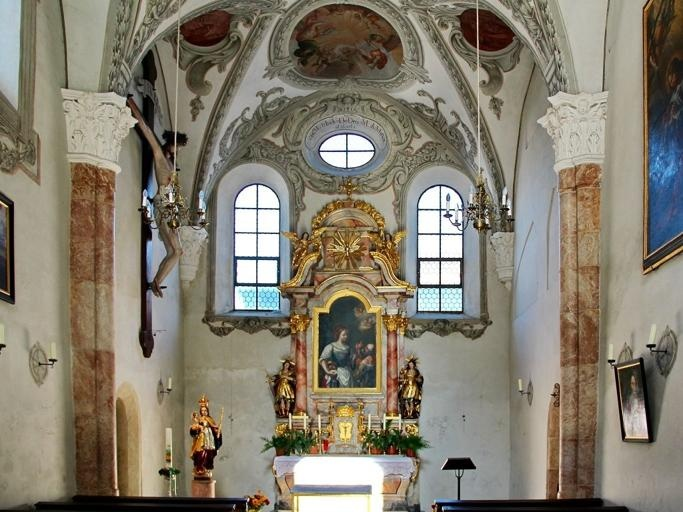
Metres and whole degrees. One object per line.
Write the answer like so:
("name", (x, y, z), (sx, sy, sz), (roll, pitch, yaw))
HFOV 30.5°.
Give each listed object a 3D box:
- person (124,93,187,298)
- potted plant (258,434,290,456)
("person", (-3.153, -1.212, 22.027), (0.712, 4.509, 0.736), (-4, -10, 36))
("potted plant", (-1.197, 3.558, 23.702), (0.411, 0.353, 0.462), (0, -5, 3))
